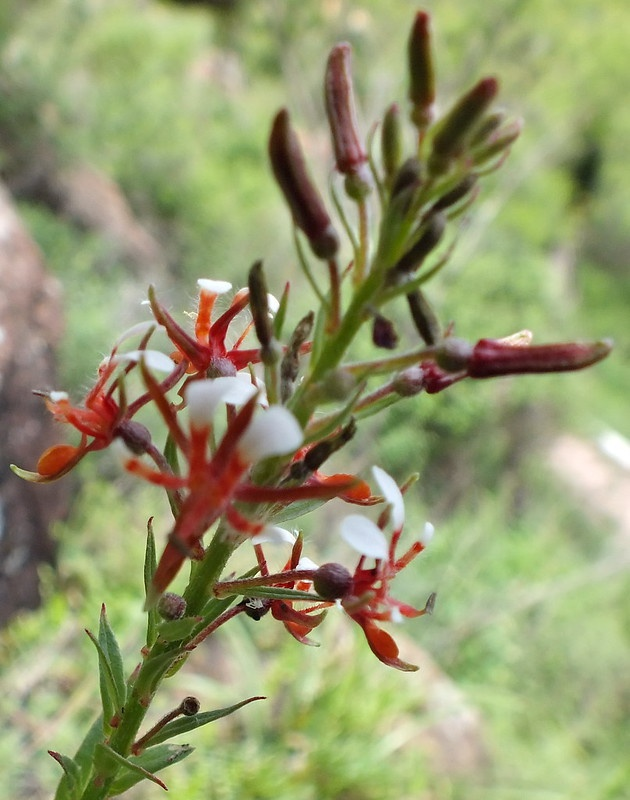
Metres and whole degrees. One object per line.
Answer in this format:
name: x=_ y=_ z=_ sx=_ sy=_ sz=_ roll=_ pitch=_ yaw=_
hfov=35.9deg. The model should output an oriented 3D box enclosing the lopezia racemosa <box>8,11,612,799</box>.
lopezia racemosa: x=-0.072 y=0.054 z=1.618 sx=0.967 sy=1.266 sz=0.734 roll=-10 pitch=43 yaw=-17
